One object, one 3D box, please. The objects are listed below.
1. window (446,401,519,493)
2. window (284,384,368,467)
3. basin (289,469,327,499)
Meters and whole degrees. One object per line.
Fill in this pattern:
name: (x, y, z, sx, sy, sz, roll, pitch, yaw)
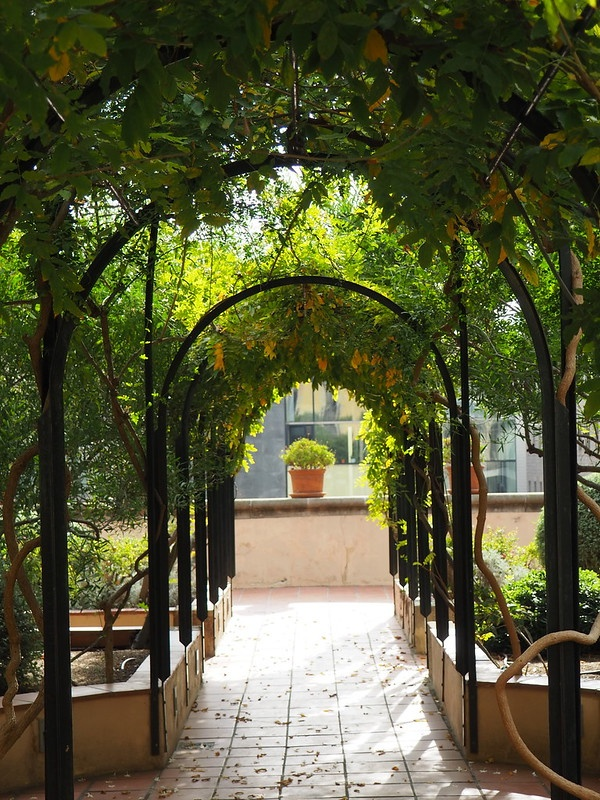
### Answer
window: (2.907, 0.931, 12.047, 1.383, 1.372, 1.341, -2, -2, 17)
window: (0.241, 0.365, 11.288, 1.400, 1.177, 0.334, 2, 0, 14)
basin: (0.073, 1.019, 9.141, 0.375, 0.254, 0.362, 1, -14, 0)
